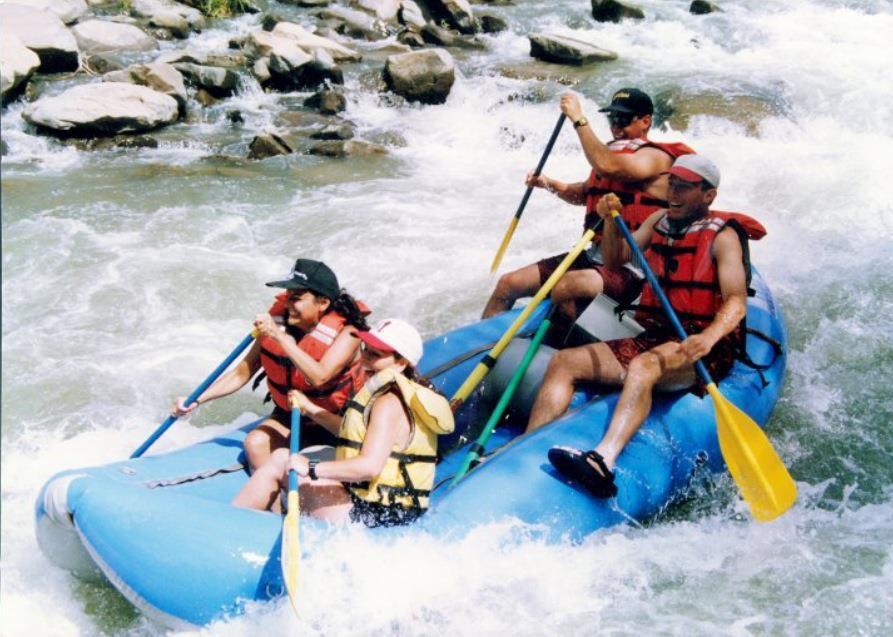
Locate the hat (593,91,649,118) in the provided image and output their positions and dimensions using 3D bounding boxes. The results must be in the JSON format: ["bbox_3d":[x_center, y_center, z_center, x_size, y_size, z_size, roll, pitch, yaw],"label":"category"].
[{"bbox_3d":[1.336,-1.581,6.591,0.354,0.181,0.254,4,13,-10],"label":"hat"}]

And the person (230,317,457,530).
[{"bbox_3d":[-0.740,0.681,5.286,1.631,1.345,1.012,2,-1,-13],"label":"person"}]

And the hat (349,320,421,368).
[{"bbox_3d":[-0.367,0.153,5.205,0.344,0.177,0.248,30,-1,-24],"label":"hat"}]

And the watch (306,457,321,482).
[{"bbox_3d":[-0.798,0.885,5.013,0.073,0.095,0.107,6,-2,12],"label":"watch"}]

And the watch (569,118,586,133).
[{"bbox_3d":[0.952,-1.405,6.350,0.120,0.080,0.115,-15,-6,-21],"label":"watch"}]

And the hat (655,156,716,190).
[{"bbox_3d":[1.624,-0.965,5.826,0.294,0.151,0.211,22,7,-23],"label":"hat"}]

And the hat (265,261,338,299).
[{"bbox_3d":[-0.934,-0.233,5.573,0.391,0.199,0.239,13,3,-11],"label":"hat"}]

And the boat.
[{"bbox_3d":[0.113,1.298,5.876,4.716,1.221,2.065,-19,30,-24],"label":"boat"}]
